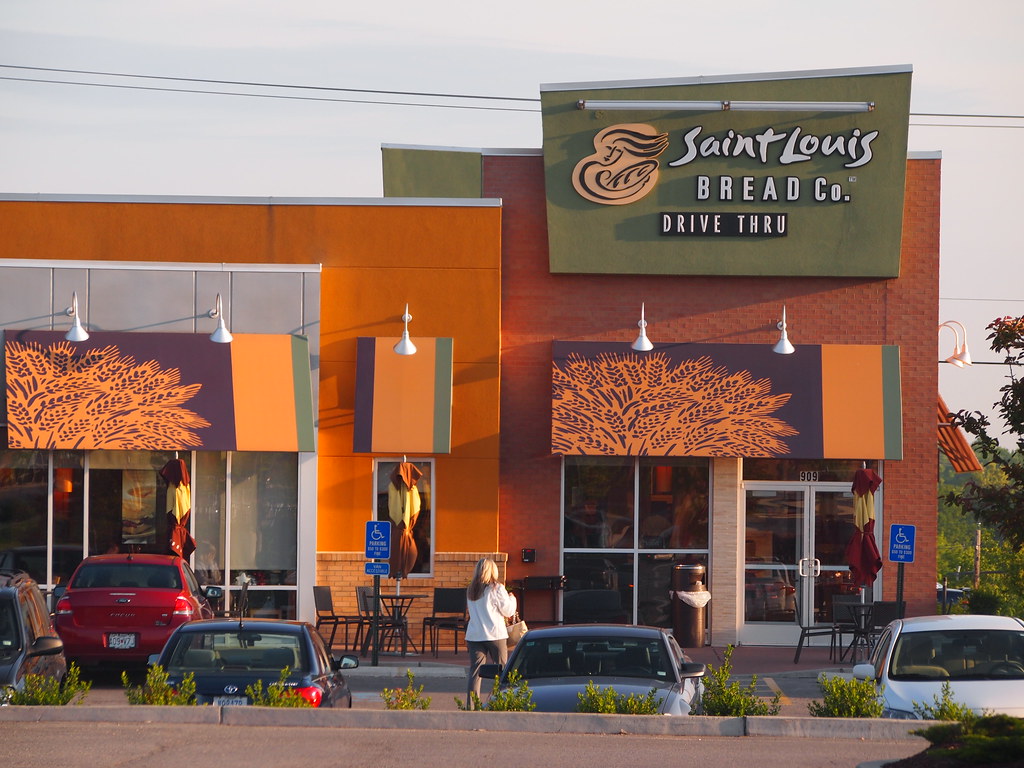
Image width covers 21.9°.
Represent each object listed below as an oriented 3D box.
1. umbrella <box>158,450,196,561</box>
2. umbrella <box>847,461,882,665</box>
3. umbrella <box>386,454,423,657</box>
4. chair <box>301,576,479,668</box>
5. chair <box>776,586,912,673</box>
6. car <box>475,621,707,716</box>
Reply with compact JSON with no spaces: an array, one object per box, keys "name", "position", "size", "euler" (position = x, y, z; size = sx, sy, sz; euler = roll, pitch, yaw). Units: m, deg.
[{"name":"umbrella","position":[-6.258,2.341,49.668],"size":[0.479,1.987,0.656],"euler":[3,-5,-8]},{"name":"umbrella","position":[6.627,3.215,49.883],"size":[0.631,3.429,0.871],"euler":[0,-3,8]},{"name":"umbrella","position":[-2.144,3.016,49.949],"size":[0.594,3.269,0.842],"euler":[1,-4,3]},{"name":"chair","position":[-2.351,4.587,50.430],"size":[1.916,1.690,2.325],"euler":[-1,-7,18]},{"name":"chair","position":[6.390,4.605,49.588],"size":[1.657,1.473,1.539],"euler":[2,-6,-31]},{"name":"car","position":[1.444,4.496,41.176],"size":[2.892,1.410,0.973],"euler":[-1,-5,-1]}]
